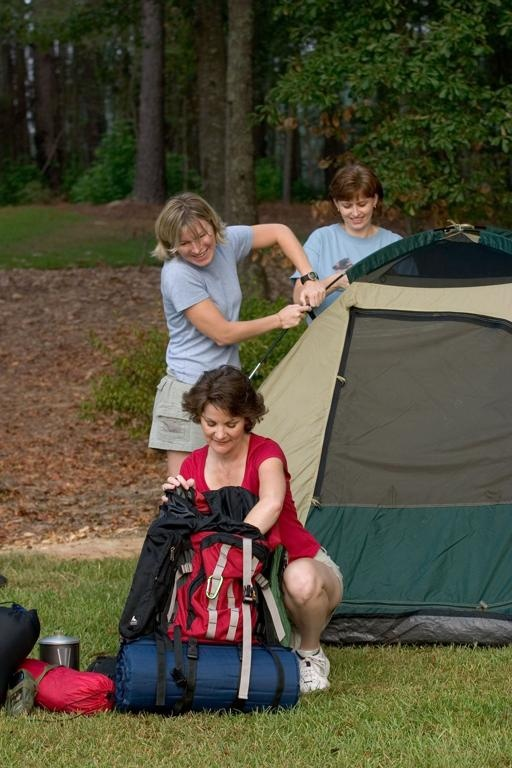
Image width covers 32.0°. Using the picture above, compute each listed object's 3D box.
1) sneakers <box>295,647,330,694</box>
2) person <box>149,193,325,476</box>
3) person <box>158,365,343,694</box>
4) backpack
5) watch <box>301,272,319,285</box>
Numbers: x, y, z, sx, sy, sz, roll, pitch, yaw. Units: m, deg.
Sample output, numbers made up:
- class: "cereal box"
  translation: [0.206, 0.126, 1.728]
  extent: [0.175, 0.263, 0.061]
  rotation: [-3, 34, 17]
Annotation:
- class: "sneakers"
  translation: [0.208, 1.098, 3.370]
  extent: [0.085, 0.083, 0.198]
  rotation: [-4, -4, 3]
- class: "person"
  translation: [-0.100, -0.048, 4.116]
  extent: [0.817, 1.584, 0.598]
  rotation: [-11, 31, -12]
- class: "person"
  translation: [-0.109, 0.551, 3.424]
  extent: [0.871, 1.153, 0.768]
  rotation: [-6, 2, 7]
- class: "backpack"
  translation: [-0.185, 0.674, 3.259]
  extent: [0.603, 0.560, 0.360]
  rotation: [1, 3, 0]
- class: "watch"
  translation: [0.245, -0.500, 4.266]
  extent: [0.080, 0.048, 0.068]
  rotation: [-10, -10, -34]
